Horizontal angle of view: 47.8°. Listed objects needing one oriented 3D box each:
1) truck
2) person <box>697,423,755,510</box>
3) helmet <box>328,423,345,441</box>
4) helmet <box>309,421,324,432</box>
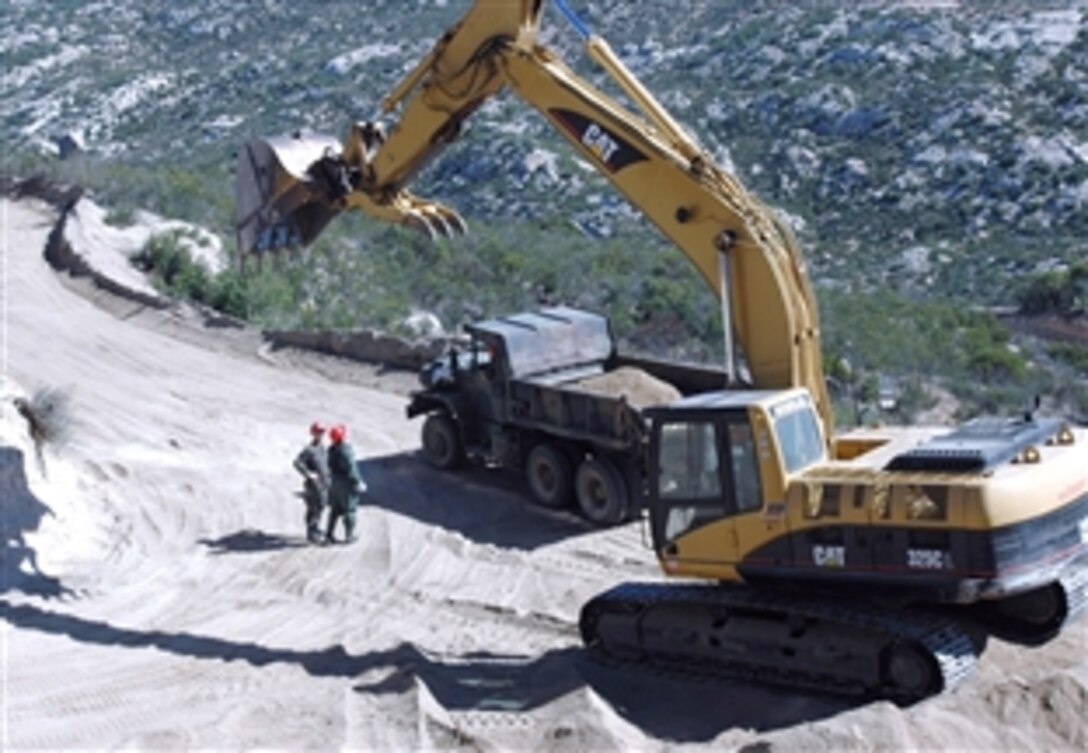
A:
[{"bbox_3d":[0.441,0.553,24.525,6.042,2.888,3.323,16,21,39],"label":"truck"},{"bbox_3d":[2.838,1.358,18.181,0.849,1.167,0.308,0,3,24],"label":"person"},{"bbox_3d":[-3.834,1.057,22.665,0.281,0.366,0.304,7,-5,13],"label":"helmet"},{"bbox_3d":[-4.371,1.011,23.917,0.254,0.257,0.354,0,-7,4],"label":"helmet"}]
